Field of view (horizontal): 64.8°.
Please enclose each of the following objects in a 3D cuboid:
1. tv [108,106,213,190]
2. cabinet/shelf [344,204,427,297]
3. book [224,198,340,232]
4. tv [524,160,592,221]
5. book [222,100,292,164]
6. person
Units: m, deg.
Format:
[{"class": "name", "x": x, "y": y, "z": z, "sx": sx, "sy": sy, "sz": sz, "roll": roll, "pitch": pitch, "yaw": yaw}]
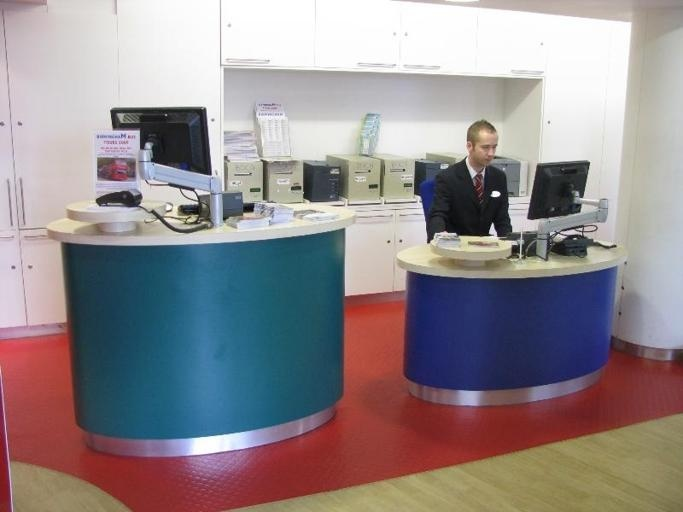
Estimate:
[{"class": "tv", "x": -1.129, "y": -0.679, "z": 3.233, "sx": 0.697, "sy": 0.411, "sz": 0.159, "roll": 3, "pitch": 11, "yaw": 17}, {"class": "cabinet/shelf", "x": 0.389, "y": -0.087, "z": 5.231, "sx": 0.947, "sy": 0.856, "sz": 0.366, "roll": -3, "pitch": 5, "yaw": -22}, {"class": "book", "x": -0.366, "y": -0.275, "z": 3.360, "sx": 0.742, "sy": 0.109, "sz": 0.424, "roll": -7, "pitch": 14, "yaw": -29}, {"class": "tv", "x": 1.570, "y": -0.473, "z": 3.795, "sx": 0.481, "sy": 0.390, "sz": 0.147, "roll": -10, "pitch": 25, "yaw": -24}, {"class": "book", "x": -0.878, "y": -1.239, "z": 5.414, "sx": 0.736, "sy": 0.683, "sz": 0.373, "roll": -1, "pitch": 3, "yaw": -18}, {"class": "person", "x": 1.016, "y": -0.623, "z": 4.411, "sx": 0.820, "sy": 0.937, "sz": 0.389, "roll": -7, "pitch": 13, "yaw": -26}]
